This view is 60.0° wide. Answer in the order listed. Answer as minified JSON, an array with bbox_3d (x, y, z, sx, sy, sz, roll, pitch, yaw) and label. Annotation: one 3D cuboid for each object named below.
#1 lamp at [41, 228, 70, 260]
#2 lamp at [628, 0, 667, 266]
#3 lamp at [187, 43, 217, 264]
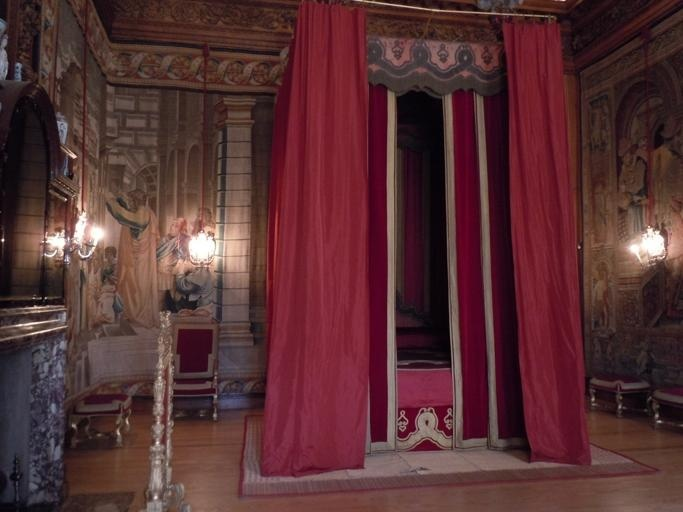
[{"bbox_3d":[-2.425,-0.096,5.006,0.218,0.317,0.474,1,2,-11],"label":"lamp"},{"bbox_3d":[3.858,-1.374,7.442,0.230,3.021,0.532,0,3,-5],"label":"lamp"},{"bbox_3d":[-1.872,-1.264,8.010,0.415,2.991,0.446,2,5,0],"label":"lamp"}]
